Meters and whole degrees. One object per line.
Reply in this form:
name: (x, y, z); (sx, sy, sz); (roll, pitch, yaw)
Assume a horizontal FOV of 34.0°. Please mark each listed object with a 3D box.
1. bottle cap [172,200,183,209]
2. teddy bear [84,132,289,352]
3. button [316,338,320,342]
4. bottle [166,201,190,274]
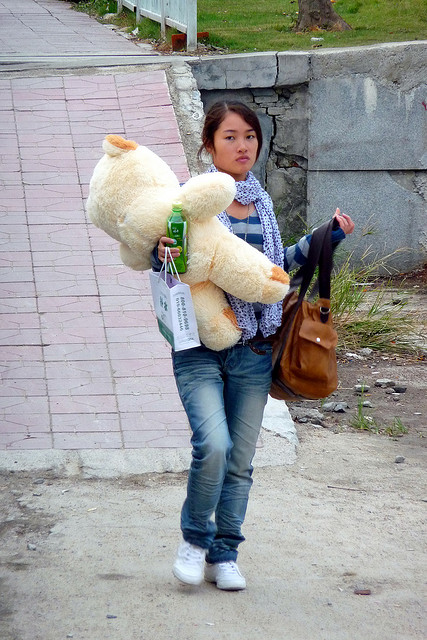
bottle cap: (-0.112, -0.363, 2.176); (0.031, 0.017, 0.029); (-5, 11, -30)
teddy bear: (-0.097, -0.249, 2.307); (0.695, 0.702, 0.357); (2, 12, 1)
button: (0.362, 0.065, 2.401); (0.017, 0.014, 0.004); (2, 2, -1)
bottle: (-0.125, -0.260, 2.214); (0.104, 0.213, 0.101); (0, 14, 0)
